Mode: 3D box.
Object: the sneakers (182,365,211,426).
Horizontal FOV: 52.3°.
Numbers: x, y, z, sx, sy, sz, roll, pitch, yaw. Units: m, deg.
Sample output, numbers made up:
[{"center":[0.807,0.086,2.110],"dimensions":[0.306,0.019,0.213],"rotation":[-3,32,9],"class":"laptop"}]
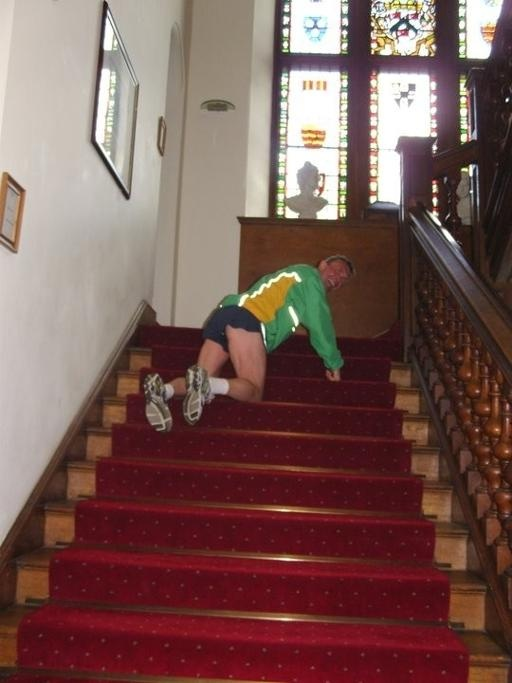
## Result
[{"center":[-0.240,0.198,2.089],"dimensions":[0.083,0.268,0.109],"rotation":[1,-10,25],"class":"sneakers"}]
